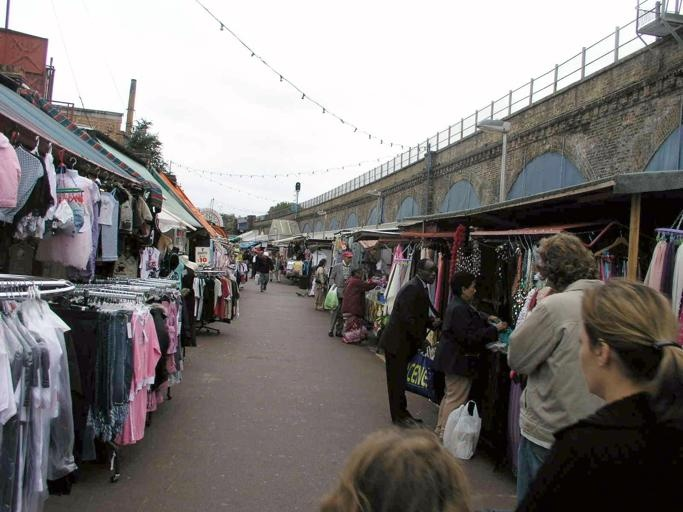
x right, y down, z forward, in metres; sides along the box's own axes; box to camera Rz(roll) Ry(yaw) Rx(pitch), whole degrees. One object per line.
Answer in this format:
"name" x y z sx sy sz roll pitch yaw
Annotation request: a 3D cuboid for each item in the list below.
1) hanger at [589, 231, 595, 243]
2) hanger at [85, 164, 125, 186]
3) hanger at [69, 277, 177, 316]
"hanger" 2.807 -0.218 5.907 0.068 0.138 0.066 8 0 -25
"hanger" -2.889 -1.050 6.571 0.171 0.142 1.563 33 5 -16
"hanger" -2.376 0.410 5.694 0.781 0.292 0.864 1 6 -5
